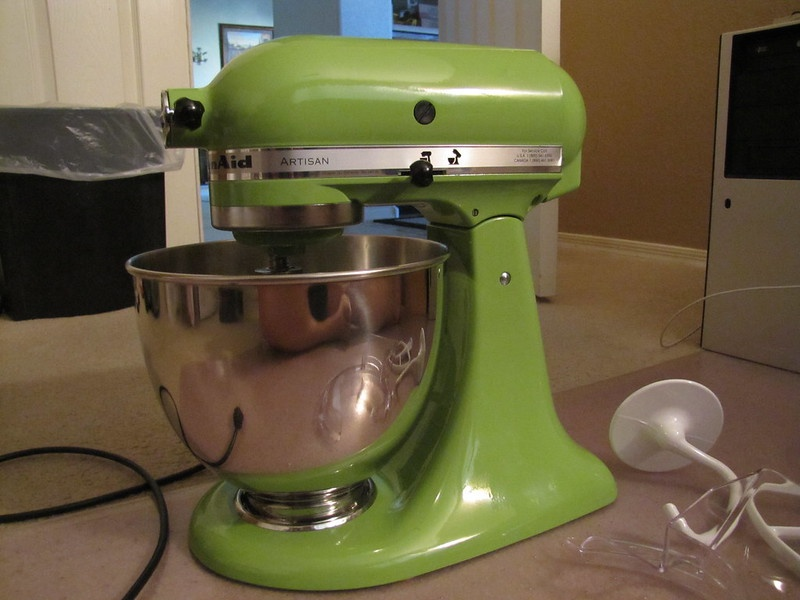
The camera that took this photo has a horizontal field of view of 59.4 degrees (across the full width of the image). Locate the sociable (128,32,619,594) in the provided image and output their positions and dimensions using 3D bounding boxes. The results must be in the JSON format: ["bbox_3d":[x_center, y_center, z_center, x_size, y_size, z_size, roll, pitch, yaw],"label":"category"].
[{"bbox_3d":[-0.054,-0.061,1.304,0.825,0.880,0.545,-4,13,-23],"label":"sociable"}]
